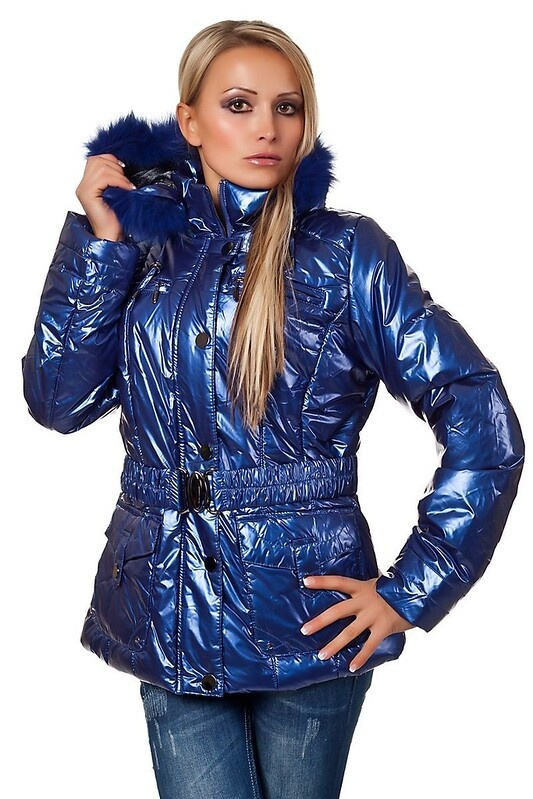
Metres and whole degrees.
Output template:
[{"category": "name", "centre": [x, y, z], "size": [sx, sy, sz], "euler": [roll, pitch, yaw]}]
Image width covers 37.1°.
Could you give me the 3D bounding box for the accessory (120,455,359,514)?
[{"category": "accessory", "centre": [-0.015, 0.170, 1.712], "size": [0.441, 0.085, 0.425], "euler": [-3, 1, 16]}]
